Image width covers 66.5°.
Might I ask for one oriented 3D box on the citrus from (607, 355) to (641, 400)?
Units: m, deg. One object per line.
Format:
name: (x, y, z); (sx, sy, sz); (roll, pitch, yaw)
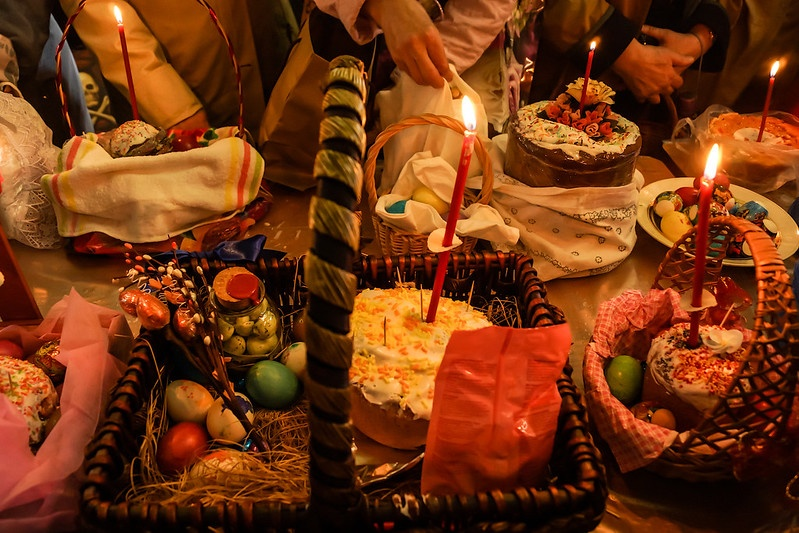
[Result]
citrus: (0.441, 0.212, 1.202); (0.062, 0.086, 0.062); (-10, -7, 44)

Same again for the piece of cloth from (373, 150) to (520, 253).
piece of cloth: (0.111, -0.153, 1.486); (0.265, 0.103, 0.273); (3, 58, -3)

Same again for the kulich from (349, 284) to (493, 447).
kulich: (-0.001, 0.171, 1.147); (0.256, 0.102, 0.301); (-1, 36, -12)

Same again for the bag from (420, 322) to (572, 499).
bag: (0.173, 0.249, 1.051); (0.230, 0.326, 0.068); (3, 13, -5)

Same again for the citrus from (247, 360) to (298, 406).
citrus: (-0.243, 0.231, 1.244); (0.074, 0.074, 0.098); (-44, 85, -13)

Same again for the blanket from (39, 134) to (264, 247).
blanket: (-0.636, -0.236, 1.638); (0.536, 0.230, 0.633); (-3, 19, 2)

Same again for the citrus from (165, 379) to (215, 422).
citrus: (-0.396, 0.247, 1.201); (0.088, 0.070, 0.065); (26, 1, 6)

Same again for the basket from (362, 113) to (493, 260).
basket: (0.061, -0.178, 1.548); (0.275, 0.360, 0.298); (18, 25, 40)
